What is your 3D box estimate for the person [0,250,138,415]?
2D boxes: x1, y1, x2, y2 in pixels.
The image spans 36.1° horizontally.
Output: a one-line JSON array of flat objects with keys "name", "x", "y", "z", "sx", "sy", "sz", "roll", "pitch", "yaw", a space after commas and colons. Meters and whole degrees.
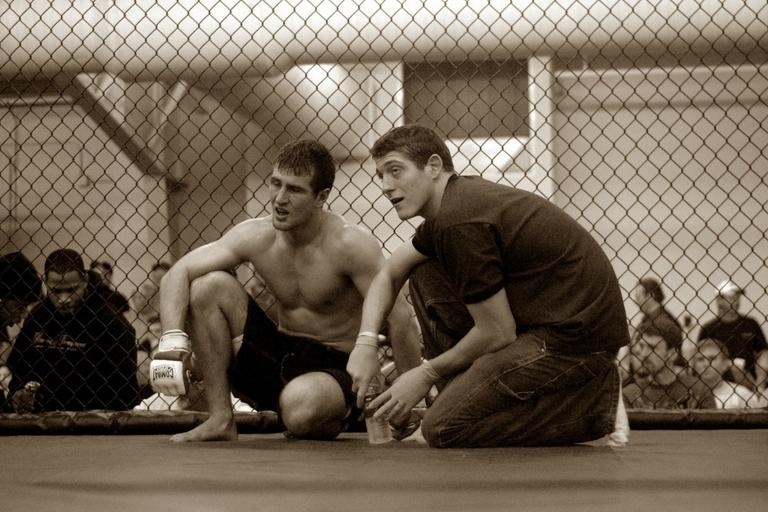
[{"name": "person", "x": -2.008, "y": 0.484, "z": 7.664, "sx": 0.854, "sy": 1.071, "sz": 0.724, "roll": 2, "pitch": -8, "yaw": -13}]

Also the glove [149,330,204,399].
[{"name": "glove", "x": -1.094, "y": 0.592, "z": 6.494, "sx": 0.233, "sy": 0.376, "sz": 0.390, "roll": -5, "pitch": -4, "yaw": 28}]

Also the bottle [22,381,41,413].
[{"name": "bottle", "x": -2.172, "y": 0.901, "z": 7.254, "sx": 0.075, "sy": 0.197, "sz": 0.143, "roll": 17, "pitch": -15, "yaw": -12}]

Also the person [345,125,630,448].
[{"name": "person", "x": 0.564, "y": 0.188, "z": 6.603, "sx": 1.554, "sy": 1.693, "sz": 1.183, "roll": -3, "pitch": -1, "yaw": 7}]
